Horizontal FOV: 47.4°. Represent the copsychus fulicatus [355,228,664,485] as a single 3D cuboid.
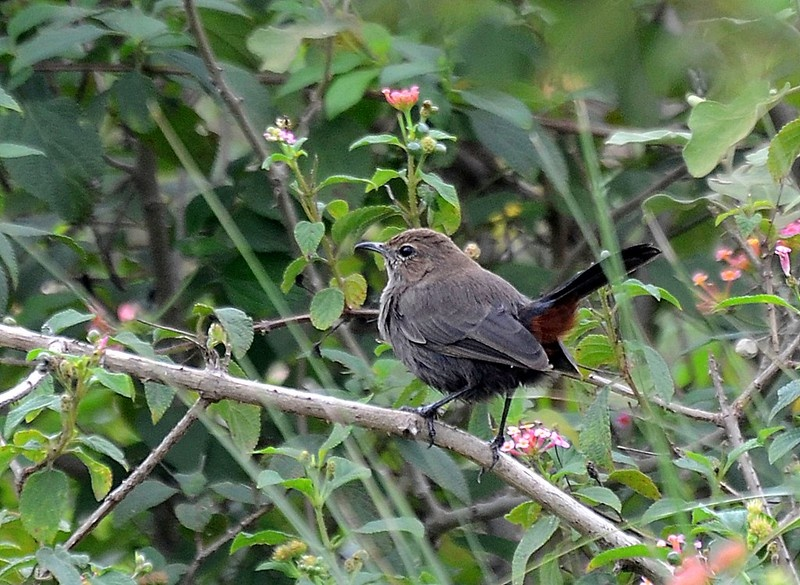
[{"bbox_3d":[0.504,0.224,4.831,1.616,1.108,0.588,2,-5,32],"label":"copsychus fulicatus"}]
